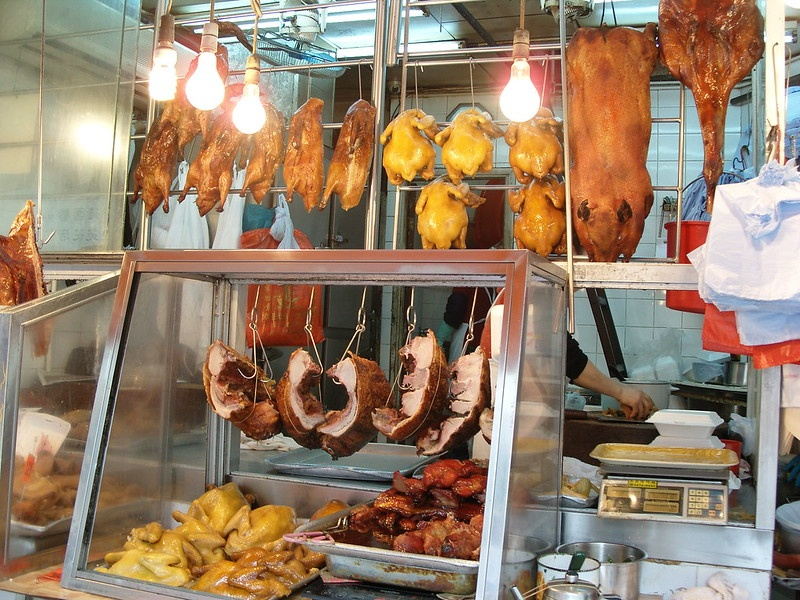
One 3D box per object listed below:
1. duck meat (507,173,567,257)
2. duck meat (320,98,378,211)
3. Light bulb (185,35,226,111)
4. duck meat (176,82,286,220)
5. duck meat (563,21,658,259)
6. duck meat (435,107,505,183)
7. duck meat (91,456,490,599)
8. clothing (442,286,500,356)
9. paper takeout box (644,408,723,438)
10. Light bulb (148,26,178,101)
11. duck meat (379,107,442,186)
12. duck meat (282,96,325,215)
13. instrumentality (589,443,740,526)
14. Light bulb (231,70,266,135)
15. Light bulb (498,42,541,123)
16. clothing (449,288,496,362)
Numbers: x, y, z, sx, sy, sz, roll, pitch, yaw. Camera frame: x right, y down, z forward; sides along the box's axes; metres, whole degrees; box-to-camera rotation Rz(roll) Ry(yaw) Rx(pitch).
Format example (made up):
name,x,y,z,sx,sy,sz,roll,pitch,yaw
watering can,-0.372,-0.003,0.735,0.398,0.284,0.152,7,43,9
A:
name,x,y,z,sx,sy,sz,roll,pitch,yaw
duck meat,0.553,-0.329,2.737,0.201,0.346,0.117,-2,-9,28
duck meat,-0.216,-0.646,3.036,0.268,0.480,0.235,0,0,8
Light bulb,-0.751,-0.850,2.675,0.129,0.224,0.157,0,0,-17
duck meat,-0.750,-0.621,3.329,0.438,0.680,0.208,15,0,12
duck meat,0.842,-0.652,2.780,0.360,0.970,0.308,0,0,20
duck meat,0.271,-0.620,2.757,0.268,0.300,0.170,0,0,13
duck meat,-0.382,0.810,2.526,1.384,0.471,0.590,0,0,13
clothing,0.457,0.127,5.274,0.379,0.532,0.146,8,1,-4
paper takeout box,1.098,0.475,2.678,0.253,0.105,0.224,0,0,22
Light bulb,-0.954,-0.970,2.796,0.092,0.323,0.206,0,0,-21
duck meat,0.050,-0.654,2.863,0.224,0.312,0.168,-1,-11,25
duck meat,-0.414,-0.646,3.166,0.191,0.510,0.117,3,-6,19
instrumentality,0.976,0.675,2.561,0.513,0.273,0.255,0,0,13
Light bulb,-0.603,-0.793,2.775,0.112,0.251,0.229,0,0,-11
Light bulb,0.441,-0.801,2.549,0.131,0.279,0.160,0,0,15
clothing,0.466,0.108,5.201,0.341,0.611,0.140,9,10,-43
